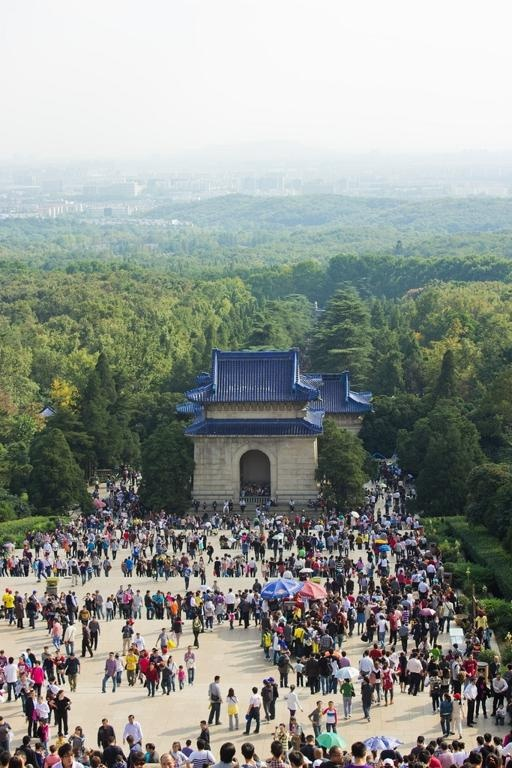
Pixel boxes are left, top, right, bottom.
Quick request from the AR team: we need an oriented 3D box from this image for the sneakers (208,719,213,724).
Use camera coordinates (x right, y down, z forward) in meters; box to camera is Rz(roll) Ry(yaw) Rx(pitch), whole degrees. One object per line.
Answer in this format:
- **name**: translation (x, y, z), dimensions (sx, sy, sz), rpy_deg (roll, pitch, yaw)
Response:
- **sneakers**: translation (-1.096, 7.934, 27.419), dimensions (0.077, 0.094, 0.150), rpy_deg (1, -15, 0)

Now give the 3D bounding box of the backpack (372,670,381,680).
- **backpack**: translation (2.894, 7.017, 28.342), dimensions (0.216, 0.361, 0.183), rpy_deg (0, -3, -6)

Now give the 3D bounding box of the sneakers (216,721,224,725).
- **sneakers**: translation (-0.898, 7.979, 27.509), dimensions (0.149, 0.120, 0.061), rpy_deg (-6, 9, -12)

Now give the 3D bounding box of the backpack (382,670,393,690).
- **backpack**: translation (3.162, 7.212, 28.387), dimensions (0.209, 0.494, 0.471), rpy_deg (1, 13, 3)

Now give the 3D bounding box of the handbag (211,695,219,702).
- **handbag**: translation (-0.987, 7.274, 27.115), dimensions (0.131, 0.209, 0.102), rpy_deg (3, 8, 3)

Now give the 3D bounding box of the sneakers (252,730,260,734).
- **sneakers**: translation (-0.029, 7.970, 26.766), dimensions (0.111, 0.091, 0.040), rpy_deg (2, 3, 28)

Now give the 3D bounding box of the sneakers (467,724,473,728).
- **sneakers**: translation (4.842, 7.742, 26.514), dimensions (0.129, 0.107, 0.051), rpy_deg (-2, 11, 6)

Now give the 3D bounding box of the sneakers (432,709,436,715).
- **sneakers**: translation (4.208, 7.775, 27.691), dimensions (0.049, 0.130, 0.117), rpy_deg (-12, 9, 8)

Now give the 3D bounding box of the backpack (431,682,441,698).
- **backpack**: translation (4.191, 7.162, 27.369), dimensions (0.213, 0.444, 0.212), rpy_deg (3, 12, 10)
